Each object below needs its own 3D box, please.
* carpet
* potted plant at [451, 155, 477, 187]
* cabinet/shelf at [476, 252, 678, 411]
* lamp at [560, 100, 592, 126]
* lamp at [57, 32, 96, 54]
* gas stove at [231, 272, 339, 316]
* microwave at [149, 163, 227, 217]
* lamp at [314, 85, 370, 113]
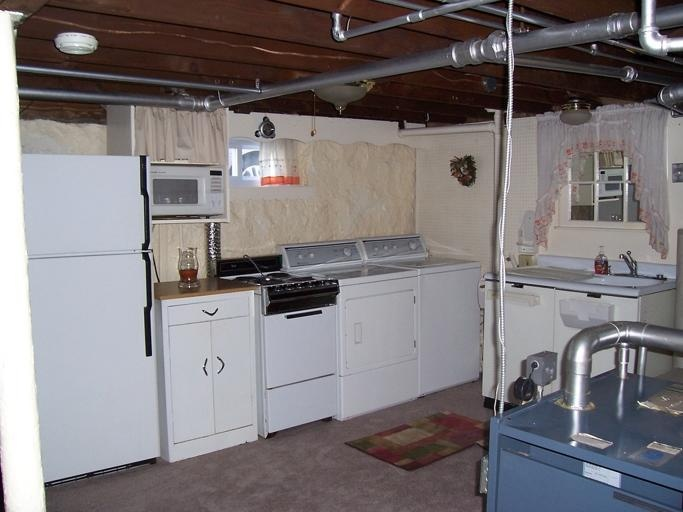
[{"bbox_3d":[0.659,1.409,4.058,1.083,0.021,0.599,-6,9,-33],"label":"carpet"},{"bbox_3d":[1.251,-0.886,5.464,0.330,0.335,0.219,6,12,39],"label":"potted plant"},{"bbox_3d":[1.938,0.689,4.446,1.447,1.303,0.817,6,12,38],"label":"cabinet/shelf"},{"bbox_3d":[1.896,-1.162,4.241,0.227,0.195,0.215,0,3,26],"label":"lamp"},{"bbox_3d":[-1.258,-1.013,2.496,0.119,0.034,0.114,-1,0,-31],"label":"lamp"},{"bbox_3d":[-0.546,0.339,4.426,0.696,0.259,0.848,-6,0,-40],"label":"gas stove"},{"bbox_3d":[-1.196,-0.520,4.121,0.427,0.440,0.747,3,4,45],"label":"microwave"},{"bbox_3d":[0.011,-1.051,3.444,0.237,0.089,0.219,-2,5,-9],"label":"lamp"}]
